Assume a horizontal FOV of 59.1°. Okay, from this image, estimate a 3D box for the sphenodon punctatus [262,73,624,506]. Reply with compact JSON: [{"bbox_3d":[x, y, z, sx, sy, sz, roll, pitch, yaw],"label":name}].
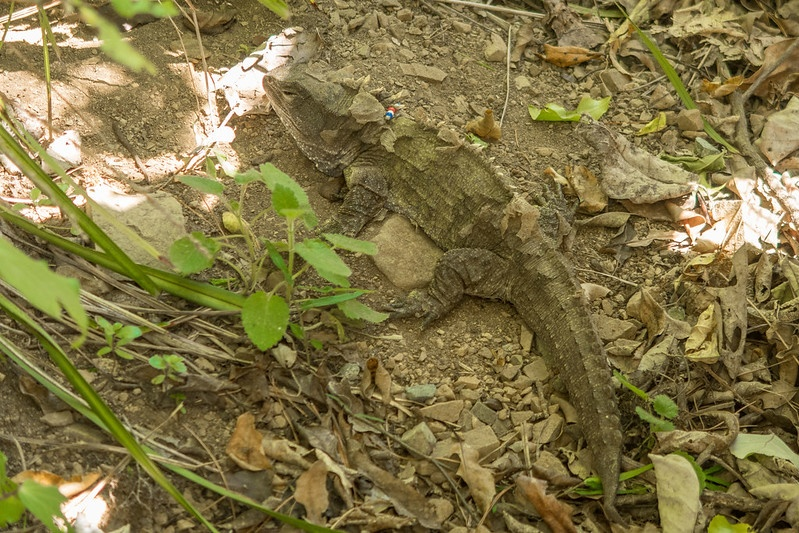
[{"bbox_3d":[0.346,-0.244,4.839,1.113,0.713,3.408,-38,82,-6],"label":"sphenodon punctatus"}]
